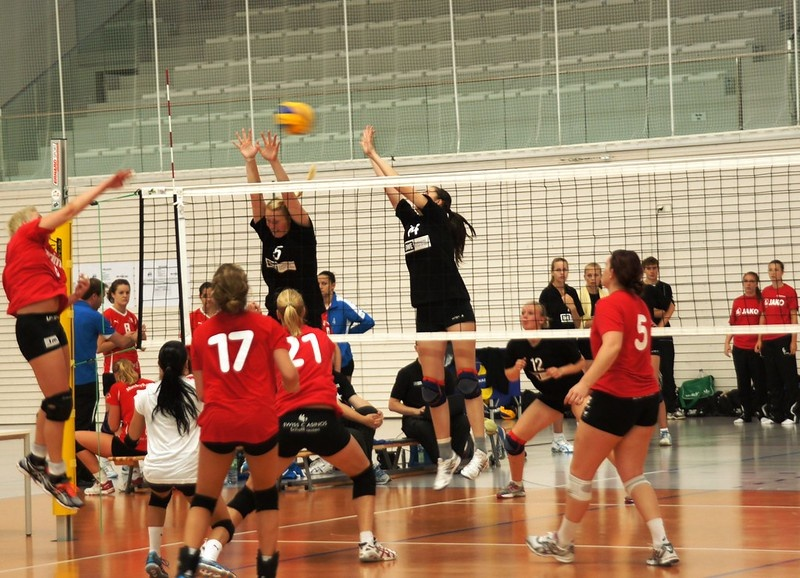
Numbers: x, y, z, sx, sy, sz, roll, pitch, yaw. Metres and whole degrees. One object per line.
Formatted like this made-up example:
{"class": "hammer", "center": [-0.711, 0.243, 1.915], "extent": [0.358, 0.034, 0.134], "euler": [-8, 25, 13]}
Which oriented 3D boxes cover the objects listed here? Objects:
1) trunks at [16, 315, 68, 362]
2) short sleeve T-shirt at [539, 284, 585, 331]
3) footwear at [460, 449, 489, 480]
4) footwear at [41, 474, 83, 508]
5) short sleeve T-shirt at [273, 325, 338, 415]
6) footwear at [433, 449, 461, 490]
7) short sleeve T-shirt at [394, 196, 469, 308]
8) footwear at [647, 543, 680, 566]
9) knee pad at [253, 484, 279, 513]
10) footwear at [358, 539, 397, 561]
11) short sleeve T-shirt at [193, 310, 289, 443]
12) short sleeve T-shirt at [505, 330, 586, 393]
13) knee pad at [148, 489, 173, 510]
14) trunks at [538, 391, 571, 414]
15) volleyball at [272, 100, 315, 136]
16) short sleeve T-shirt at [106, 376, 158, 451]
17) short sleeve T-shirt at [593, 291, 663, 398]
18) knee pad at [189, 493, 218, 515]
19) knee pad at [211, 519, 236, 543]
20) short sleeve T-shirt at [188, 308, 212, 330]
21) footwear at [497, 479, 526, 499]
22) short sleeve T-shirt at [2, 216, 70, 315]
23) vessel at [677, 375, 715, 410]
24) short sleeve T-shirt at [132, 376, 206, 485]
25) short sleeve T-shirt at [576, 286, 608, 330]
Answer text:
{"class": "trunks", "center": [-4.129, 0.517, 13.203], "extent": [0.424, 0.525, 0.602], "euler": [-16, 5, 12]}
{"class": "short sleeve T-shirt", "center": [2.288, 0.272, 16.120], "extent": [0.344, 0.599, 0.570], "euler": [-11, -4, 41]}
{"class": "footwear", "center": [0.959, 2.199, 14.521], "extent": [0.251, 0.345, 0.429], "euler": [-3, 1, 21]}
{"class": "footwear", "center": [-3.941, 2.351, 13.361], "extent": [0.454, 0.425, 0.461], "euler": [-4, 1, -8]}
{"class": "short sleeve T-shirt", "center": [-1.154, 0.924, 13.019], "extent": [0.883, 1.112, 0.562], "euler": [-4, -14, -12]}
{"class": "footwear", "center": [0.540, 2.255, 14.292], "extent": [0.192, 0.579, 0.250], "euler": [-2, -38, 47]}
{"class": "short sleeve T-shirt", "center": [0.301, -0.545, 14.413], "extent": [0.946, 1.551, 0.728], "euler": [7, -17, -33]}
{"class": "footwear", "center": [2.909, 2.876, 12.569], "extent": [0.335, 0.241, 0.243], "euler": [-4, 1, 14]}
{"class": "knee pad", "center": [-1.435, 2.242, 12.332], "extent": [0.256, 0.197, 0.260], "euler": [0, -6, 0]}
{"class": "footwear", "center": [-0.280, 2.927, 12.803], "extent": [0.486, 0.226, 0.188], "euler": [0, 2, -27]}
{"class": "short sleeve T-shirt", "center": [-1.728, 0.909, 12.316], "extent": [1.119, 1.386, 0.689], "euler": [-4, -9, 5]}
{"class": "short sleeve T-shirt", "center": [1.818, 1.010, 14.812], "extent": [0.855, 0.840, 0.634], "euler": [-7, 15, 9]}
{"class": "knee pad", "center": [-2.680, 2.344, 12.742], "extent": [0.272, 0.207, 0.196], "euler": [6, -14, -24]}
{"class": "trunks", "center": [1.956, 1.369, 14.369], "extent": [0.335, 0.122, 0.241], "euler": [24, 4, 3]}
{"class": "volleyball", "center": [-1.352, -2.176, 14.493], "extent": [0.424, 0.405, 0.586], "euler": [-4, 1, -10]}
{"class": "short sleeve T-shirt", "center": [-3.861, 1.669, 15.966], "extent": [0.369, 0.752, 0.618], "euler": [-4, 0, 29]}
{"class": "short sleeve T-shirt", "center": [2.534, 0.609, 12.884], "extent": [0.680, 1.152, 1.143], "euler": [-1, -3, 29]}
{"class": "knee pad", "center": [-2.084, 2.250, 12.108], "extent": [0.217, 0.180, 0.219], "euler": [11, -10, -8]}
{"class": "knee pad", "center": [-1.936, 2.641, 12.462], "extent": [0.243, 0.197, 0.245], "euler": [5, 11, -5]}
{"class": "short sleeve T-shirt", "center": [-2.690, 0.392, 15.295], "extent": [0.304, 0.298, 0.166], "euler": [-1, -4, -13]}
{"class": "footwear", "center": [1.477, 2.628, 15.007], "extent": [0.417, 0.205, 0.169], "euler": [-1, -4, -5]}
{"class": "short sleeve T-shirt", "center": [-4.179, -0.267, 13.128], "extent": [0.532, 0.816, 0.929], "euler": [-6, -15, -14]}
{"class": "vessel", "center": [5.571, 1.932, 21.280], "extent": [0.535, 0.517, 0.269], "euler": [-7, -17, 30]}
{"class": "short sleeve T-shirt", "center": [-2.696, 1.543, 12.919], "extent": [0.797, 1.181, 0.727], "euler": [-4, 19, -33]}
{"class": "short sleeve T-shirt", "center": [2.662, 0.266, 15.789], "extent": [0.547, 0.705, 0.367], "euler": [0, -11, -1]}
